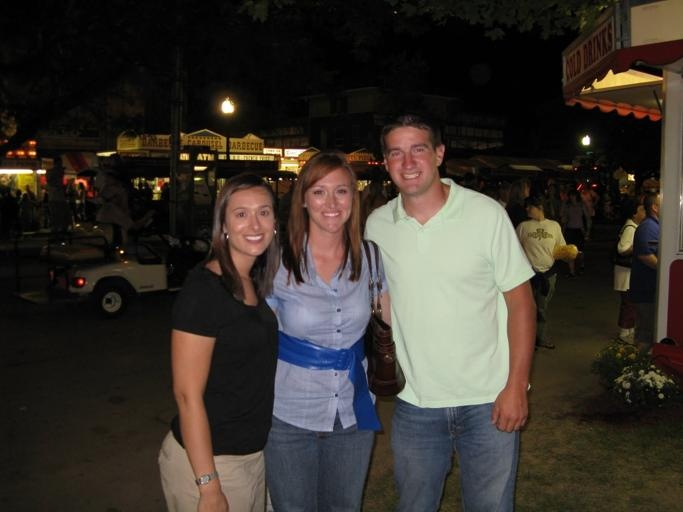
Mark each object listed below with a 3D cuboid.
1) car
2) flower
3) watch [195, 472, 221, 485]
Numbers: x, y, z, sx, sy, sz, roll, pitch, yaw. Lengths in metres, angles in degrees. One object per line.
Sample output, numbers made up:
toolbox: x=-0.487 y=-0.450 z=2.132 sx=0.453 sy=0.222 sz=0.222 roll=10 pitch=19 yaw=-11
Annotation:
car: x=-3.957 y=0.342 z=10.601 sx=1.992 sy=0.910 sz=1.161 roll=-17 pitch=18 yaw=-36
flower: x=3.718 y=1.490 z=7.398 sx=0.609 sy=0.284 sz=0.770 roll=-13 pitch=13 yaw=29
watch: x=-0.750 y=1.249 z=3.330 sx=0.103 sy=0.067 sz=0.111 roll=-22 pitch=-7 yaw=43
